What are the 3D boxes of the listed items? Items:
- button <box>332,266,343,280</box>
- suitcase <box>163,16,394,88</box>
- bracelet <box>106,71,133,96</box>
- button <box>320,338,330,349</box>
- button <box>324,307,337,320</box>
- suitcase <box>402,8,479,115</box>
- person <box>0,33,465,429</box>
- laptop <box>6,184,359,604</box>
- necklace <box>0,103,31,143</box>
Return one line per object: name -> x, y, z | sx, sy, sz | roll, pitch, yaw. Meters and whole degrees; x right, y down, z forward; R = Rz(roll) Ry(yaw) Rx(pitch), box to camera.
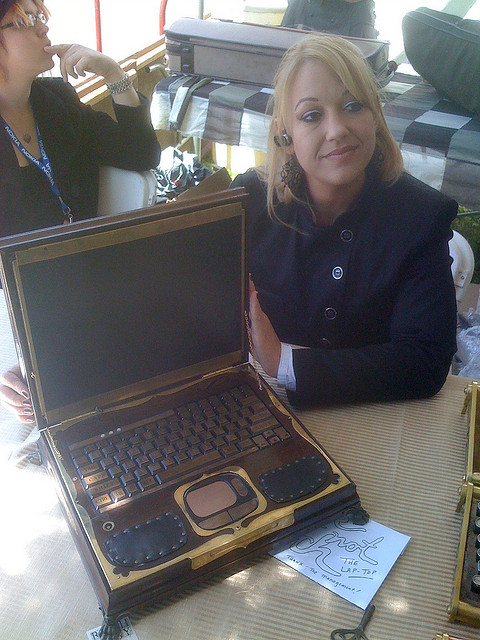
button -> 0.208, -0.097, 1.091 | 0.007, 0.028, 0.029 | 1, -1, -42
suitcase -> 0.181, -1.290, 2.500 | 1.153, 0.266, 0.443 | 15, 44, 19
bracelet -> -0.436, -0.857, 1.911 | 0.082, 0.074, 0.077 | -6, 27, -4
button -> 0.186, 0.051, 1.127 | 0.019, 0.019, 0.005 | 23, 31, 33
button -> 0.196, -0.012, 1.109 | 0.024, 0.023, 0.006 | 4, 20, 37
suitcase -> 0.912, -1.108, 2.242 | 0.175, 0.405, 0.395 | -25, 34, -35
person -> 0.096, -0.123, 1.221 | 0.870, 0.802, 0.194 | 8, 2, -25
laptop -> -0.062, 0.056, 0.618 | 0.332, 0.335, 0.288 | -16, 30, -23
necklace -> -0.704, -0.629, 1.694 | 0.042, 0.110, 0.107 | 10, 30, 25
